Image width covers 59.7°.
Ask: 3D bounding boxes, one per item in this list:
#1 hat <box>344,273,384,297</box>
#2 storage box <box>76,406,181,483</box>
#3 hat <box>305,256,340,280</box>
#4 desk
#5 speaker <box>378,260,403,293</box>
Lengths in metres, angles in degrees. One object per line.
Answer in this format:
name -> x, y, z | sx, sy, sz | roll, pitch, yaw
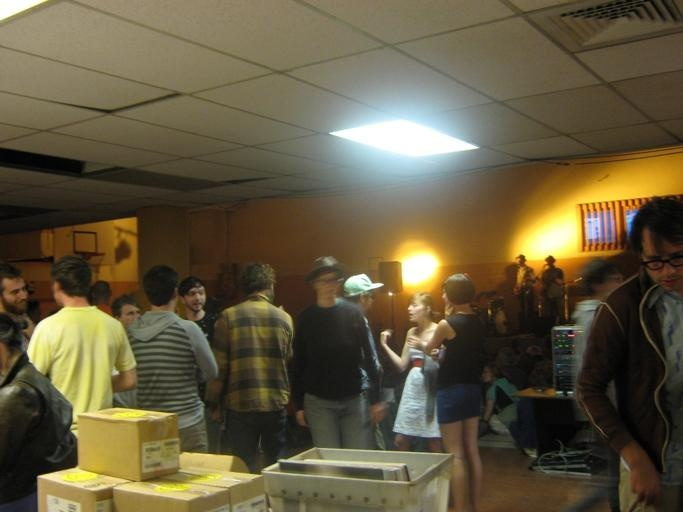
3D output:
hat -> 0.164, 0.247, 4.890 | 0.184, 0.187, 0.340 | -3, -4, 31
storage box -> -0.890, 0.774, 2.468 | 0.401, 0.221, 0.235 | -8, -9, 36
hat -> -0.109, 0.087, 4.124 | 0.235, 0.163, 0.226 | -2, -4, 19
desk -> 2.050, 1.666, 6.090 | 0.716, 0.613, 0.706 | -3, -4, 31
speaker -> 0.588, 0.250, 7.010 | 0.365, 0.367, 0.351 | 0, 4, 34
